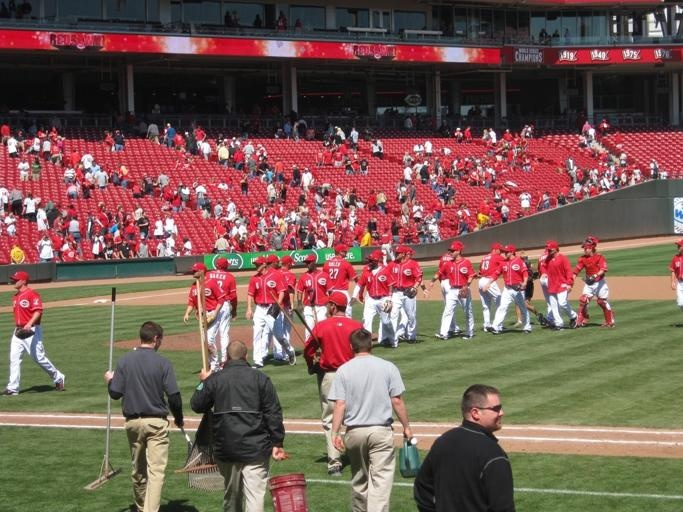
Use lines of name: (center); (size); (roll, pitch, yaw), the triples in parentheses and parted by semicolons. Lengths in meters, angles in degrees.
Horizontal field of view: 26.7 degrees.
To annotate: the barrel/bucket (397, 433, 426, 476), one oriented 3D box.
barrel/bucket: (1.808, 5.505, 39.539); (0.570, 1.014, 0.970); (1, 10, 8)
